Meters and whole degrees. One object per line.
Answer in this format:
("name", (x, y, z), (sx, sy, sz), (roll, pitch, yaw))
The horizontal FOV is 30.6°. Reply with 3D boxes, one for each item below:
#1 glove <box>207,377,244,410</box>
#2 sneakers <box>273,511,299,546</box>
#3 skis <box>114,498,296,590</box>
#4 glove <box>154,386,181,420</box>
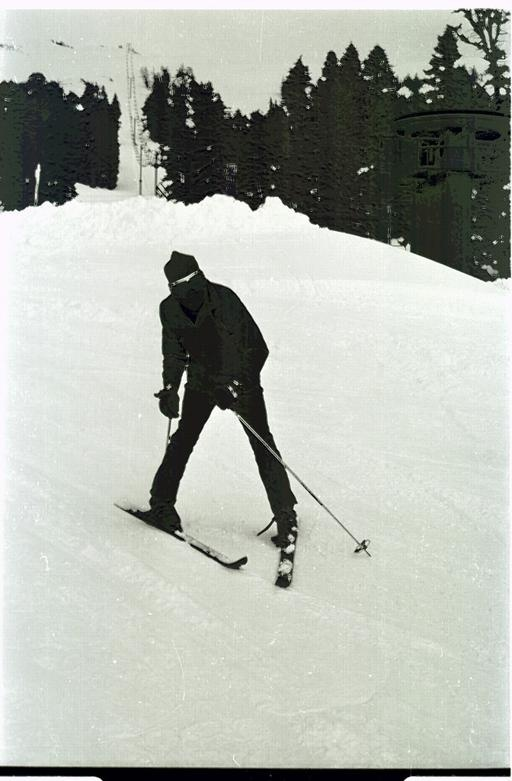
("glove", (-0.119, 0.018, 3.515), (0.117, 0.113, 0.035), (-8, -3, -4))
("sneakers", (0.090, 0.529, 3.559), (0.125, 0.129, 0.106), (-6, -9, -7))
("skis", (-0.133, 0.561, 3.505), (0.508, 0.089, 0.282), (23, 16, 9))
("glove", (-0.328, 0.047, 3.509), (0.084, 0.110, 0.030), (-31, 7, 5))
